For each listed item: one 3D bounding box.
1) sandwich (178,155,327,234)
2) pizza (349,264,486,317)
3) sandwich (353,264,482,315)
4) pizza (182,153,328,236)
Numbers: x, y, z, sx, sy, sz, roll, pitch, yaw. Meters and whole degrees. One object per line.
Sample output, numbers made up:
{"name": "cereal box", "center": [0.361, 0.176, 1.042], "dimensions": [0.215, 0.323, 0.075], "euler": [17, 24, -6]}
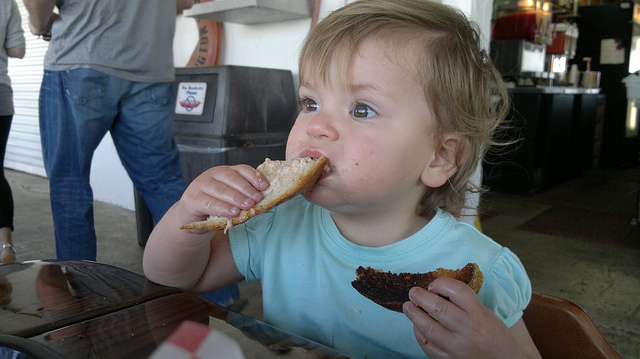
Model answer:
{"name": "sandwich", "center": [-0.198, 0.035, 1.407], "dimensions": [0.399, 0.089, 0.275], "euler": [-28, 10, -8]}
{"name": "pizza", "center": [0.360, 0.415, 1.555], "dimensions": [0.366, 0.117, 0.220], "euler": [-8, 24, 18]}
{"name": "sandwich", "center": [0.343, 0.373, 1.522], "dimensions": [0.337, 0.110, 0.201], "euler": [-17, 32, 26]}
{"name": "pizza", "center": [-0.171, 0.072, 1.409], "dimensions": [0.423, 0.091, 0.292], "euler": [-31, 22, -20]}
